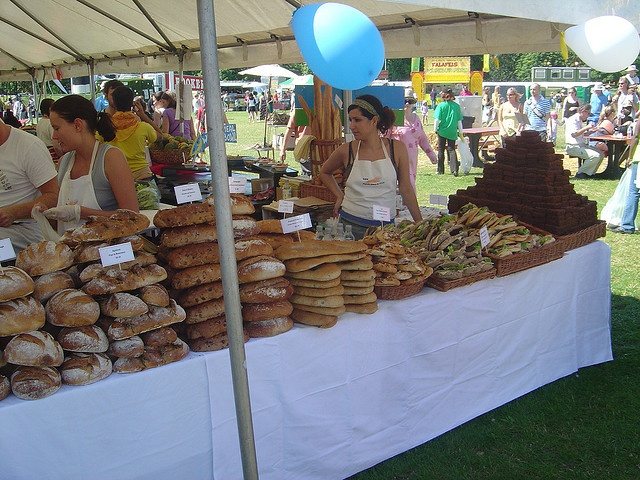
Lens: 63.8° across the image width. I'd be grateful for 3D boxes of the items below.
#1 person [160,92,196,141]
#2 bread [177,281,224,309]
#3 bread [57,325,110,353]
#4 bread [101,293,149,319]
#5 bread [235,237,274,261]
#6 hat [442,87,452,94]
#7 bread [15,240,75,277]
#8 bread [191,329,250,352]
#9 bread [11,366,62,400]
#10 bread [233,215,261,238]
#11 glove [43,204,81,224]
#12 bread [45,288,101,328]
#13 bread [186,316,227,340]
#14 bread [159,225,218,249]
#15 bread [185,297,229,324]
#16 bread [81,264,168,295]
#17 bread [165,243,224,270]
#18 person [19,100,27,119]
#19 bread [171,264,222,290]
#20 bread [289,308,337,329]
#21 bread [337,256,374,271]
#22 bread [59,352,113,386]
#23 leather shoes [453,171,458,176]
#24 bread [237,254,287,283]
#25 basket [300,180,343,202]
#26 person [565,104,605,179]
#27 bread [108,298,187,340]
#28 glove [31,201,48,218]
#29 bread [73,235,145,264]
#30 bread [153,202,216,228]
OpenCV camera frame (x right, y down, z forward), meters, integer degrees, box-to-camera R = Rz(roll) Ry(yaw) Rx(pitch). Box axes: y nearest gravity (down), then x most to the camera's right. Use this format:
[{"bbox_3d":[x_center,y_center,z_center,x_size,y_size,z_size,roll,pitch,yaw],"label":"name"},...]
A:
[{"bbox_3d":[-2.637,-2.279,9.355,0.529,0.855,2.061,-7,15,-15],"label":"person"},{"bbox_3d":[-0.666,0.305,2.876,0.290,0.076,0.137,-14,21,-1],"label":"bread"},{"bbox_3d":[-1.194,0.489,2.567,0.204,0.062,0.131,3,47,-27],"label":"bread"},{"bbox_3d":[-1.019,0.336,2.668,0.233,0.119,0.114,-7,16,-18],"label":"bread"},{"bbox_3d":[-0.397,0.051,3.042,0.179,0.056,0.128,-10,16,-37],"label":"bread"},{"bbox_3d":[3.021,-3.572,12.253,0.370,0.138,0.457,0,20,7],"label":"hat"},{"bbox_3d":[-1.414,0.099,2.622,0.218,0.114,0.211,-8,13,-20],"label":"bread"},{"bbox_3d":[-0.598,0.578,2.915,0.244,0.057,0.193,-6,7,-41],"label":"bread"},{"bbox_3d":[-1.397,0.695,2.510,0.226,0.143,0.114,-8,16,-20],"label":"bread"},{"bbox_3d":[-0.457,-0.083,3.122,0.105,0.118,0.214,8,18,34],"label":"bread"},{"bbox_3d":[-1.580,-0.163,3.145,0.168,0.109,0.071,-8,-3,-1],"label":"glove"},{"bbox_3d":[-1.284,0.330,2.638,0.260,0.140,0.255,8,7,-41],"label":"bread"},{"bbox_3d":[-0.639,0.488,2.895,0.215,0.051,0.145,-9,15,-15],"label":"bread"},{"bbox_3d":[-0.752,-0.023,2.979,0.345,0.096,0.148,-6,7,-19],"label":"bread"},{"bbox_3d":[-0.631,0.417,2.873,0.195,0.052,0.193,-8,7,24],"label":"bread"},{"bbox_3d":[-1.028,0.216,2.712,0.418,0.149,0.134,-9,17,-26],"label":"bread"},{"bbox_3d":[-0.704,0.095,2.958,0.348,0.099,0.146,-5,43,-16],"label":"bread"},{"bbox_3d":[-16.685,-7.277,28.781,0.372,0.924,1.125,-10,17,-25],"label":"person"},{"bbox_3d":[-0.695,0.206,2.880,0.352,0.101,0.150,-9,-9,-25],"label":"bread"},{"bbox_3d":[-0.035,0.473,3.124,0.192,0.050,0.128,6,15,24],"label":"bread"},{"bbox_3d":[0.228,0.138,3.211,0.134,0.039,0.103,2,15,35],"label":"bread"},{"bbox_3d":[-1.185,0.650,2.589,0.152,0.060,0.199,11,16,24],"label":"bread"},{"bbox_3d":[3.423,-1.656,12.923,0.093,0.120,0.046,-2,-17,5],"label":"leather shoes"},{"bbox_3d":[-0.343,0.161,2.952,0.155,0.072,0.221,3,6,44],"label":"bread"},{"bbox_3d":[-0.008,-0.539,5.701,0.260,0.281,0.443,-8,10,-43],"label":"basket"},{"bbox_3d":[6.560,-2.273,12.270,0.798,1.575,0.904,-2,14,-20],"label":"person"},{"bbox_3d":[-0.917,0.395,2.697,0.323,0.082,0.164,-16,24,-27],"label":"bread"},{"bbox_3d":[-1.862,-0.200,3.395,0.117,0.045,0.096,-42,-18,34],"label":"glove"},{"bbox_3d":[-1.137,0.036,2.738,0.250,0.063,0.170,-11,14,-26],"label":"bread"},{"bbox_3d":[-0.782,-0.148,2.965,0.355,0.089,0.182,-7,21,-10],"label":"bread"}]
